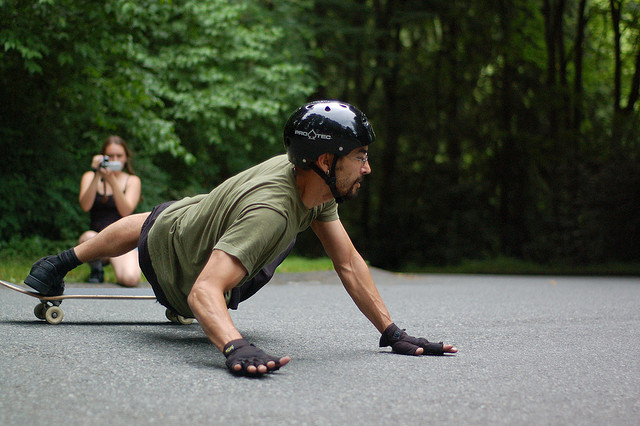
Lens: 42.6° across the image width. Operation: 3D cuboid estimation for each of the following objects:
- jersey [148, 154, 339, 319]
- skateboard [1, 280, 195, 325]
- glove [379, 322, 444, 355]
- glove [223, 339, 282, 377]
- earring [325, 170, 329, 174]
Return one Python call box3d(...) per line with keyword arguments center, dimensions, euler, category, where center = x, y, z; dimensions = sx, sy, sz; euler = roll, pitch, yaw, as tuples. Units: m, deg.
box3d(center=(-0.813, 0.107, 7.538), dimensions=(1.520, 0.681, 1.565), euler=(-3, 7, 14), category="jersey")
box3d(center=(-2.350, 0.969, 8.695), dimensions=(1.368, 0.254, 0.393), euler=(5, -1, -19), category="skateboard")
box3d(center=(0.859, 1.200, 7.685), dimensions=(0.439, 0.215, 0.295), euler=(3, -18, 6), category="glove")
box3d(center=(-0.580, 1.231, 7.044), dimensions=(0.453, 0.137, 0.275), euler=(10, -28, 34), category="glove")
box3d(center=(0.067, -0.368, 7.438), dimensions=(0.031, 0.032, 0.009), euler=(10, 4, -36), category="earring")
